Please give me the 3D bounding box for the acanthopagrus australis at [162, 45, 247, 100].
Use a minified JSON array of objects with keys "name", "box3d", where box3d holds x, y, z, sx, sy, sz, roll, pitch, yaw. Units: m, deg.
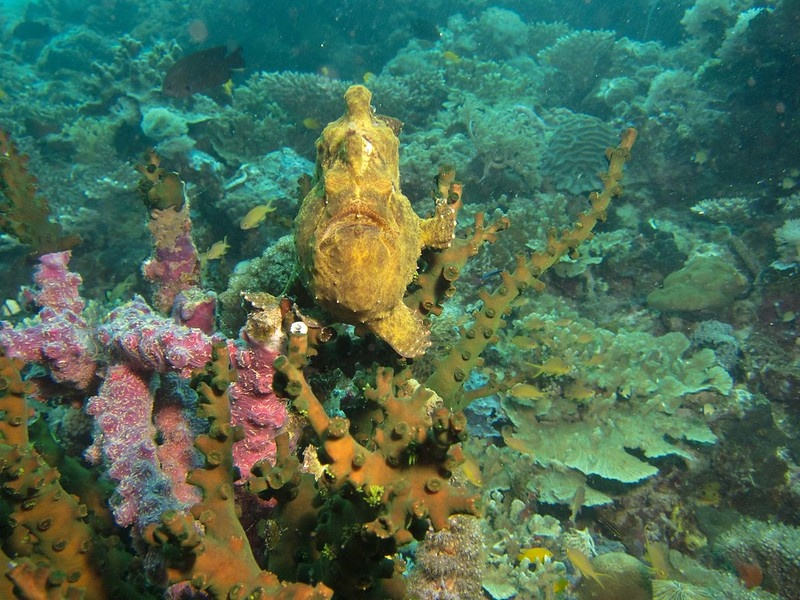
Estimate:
[{"name":"acanthopagrus australis","box3d":[-4.202,-4.846,17.359,1.934,1.092,0.587,-18,-7,4]}]
